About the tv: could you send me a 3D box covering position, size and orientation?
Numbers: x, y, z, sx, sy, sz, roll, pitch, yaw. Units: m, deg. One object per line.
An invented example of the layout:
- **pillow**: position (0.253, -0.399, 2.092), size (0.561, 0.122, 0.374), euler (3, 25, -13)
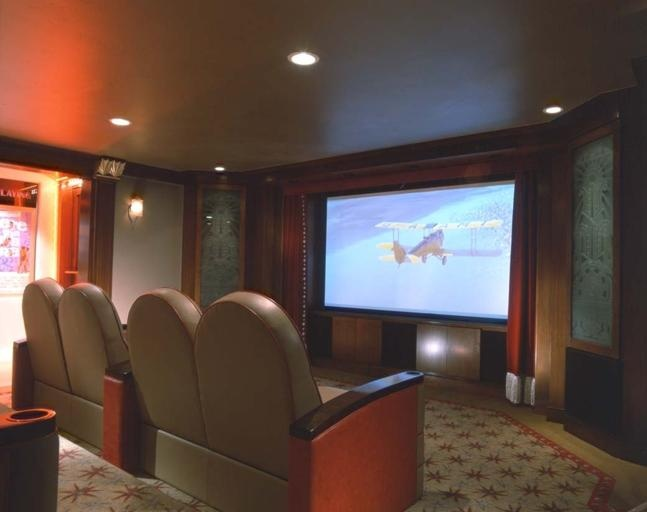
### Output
- **tv**: position (1.518, 0.026, 6.632), size (2.291, 1.472, 1.355), euler (-1, -2, 38)

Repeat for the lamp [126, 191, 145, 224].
- **lamp**: position (-2.516, -0.650, 6.794), size (0.108, 0.383, 0.241), euler (1, 1, 38)
